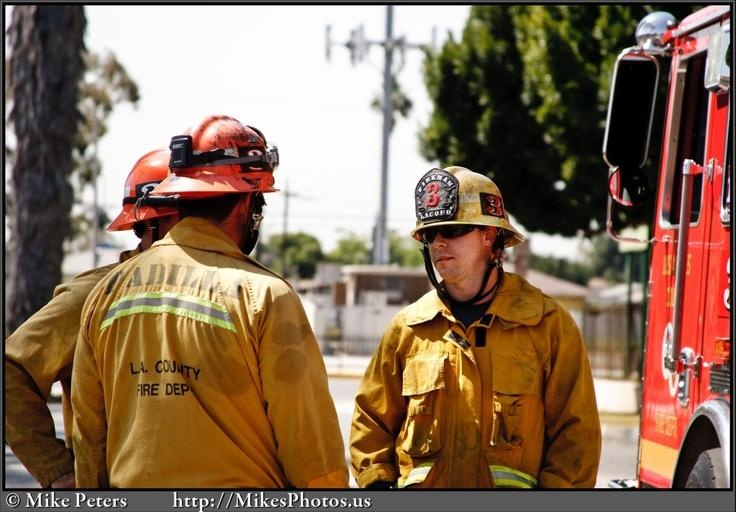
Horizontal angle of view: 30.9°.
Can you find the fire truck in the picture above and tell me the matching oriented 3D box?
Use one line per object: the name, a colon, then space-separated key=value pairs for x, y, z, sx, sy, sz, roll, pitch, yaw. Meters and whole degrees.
fire truck: x=2.216 y=-0.040 z=9.405 sx=1.085 sy=3.481 sz=0.625 roll=1 pitch=-1 yaw=44
